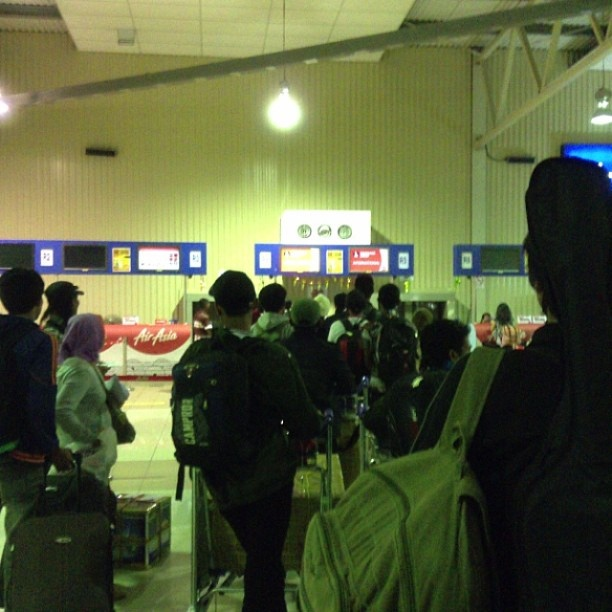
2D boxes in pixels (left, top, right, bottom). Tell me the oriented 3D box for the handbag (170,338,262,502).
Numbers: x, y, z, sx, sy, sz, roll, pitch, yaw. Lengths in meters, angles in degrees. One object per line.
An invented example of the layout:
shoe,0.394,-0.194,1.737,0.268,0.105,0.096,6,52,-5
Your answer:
handbag,-0.312,0.341,2.444,0.225,0.496,0.238,0,-2,-2

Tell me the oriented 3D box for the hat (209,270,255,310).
hat,-0.252,-0.046,2.653,0.100,0.183,0.163,-6,-11,0

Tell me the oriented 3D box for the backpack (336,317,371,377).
backpack,0.290,0.257,4.650,0.170,0.331,0.278,-1,-4,1

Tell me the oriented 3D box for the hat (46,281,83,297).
hat,-1.100,-0.079,3.476,0.129,0.063,0.106,2,-2,-18

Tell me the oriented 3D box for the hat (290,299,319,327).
hat,0.016,0.029,3.810,0.132,0.133,0.251,3,-1,2
